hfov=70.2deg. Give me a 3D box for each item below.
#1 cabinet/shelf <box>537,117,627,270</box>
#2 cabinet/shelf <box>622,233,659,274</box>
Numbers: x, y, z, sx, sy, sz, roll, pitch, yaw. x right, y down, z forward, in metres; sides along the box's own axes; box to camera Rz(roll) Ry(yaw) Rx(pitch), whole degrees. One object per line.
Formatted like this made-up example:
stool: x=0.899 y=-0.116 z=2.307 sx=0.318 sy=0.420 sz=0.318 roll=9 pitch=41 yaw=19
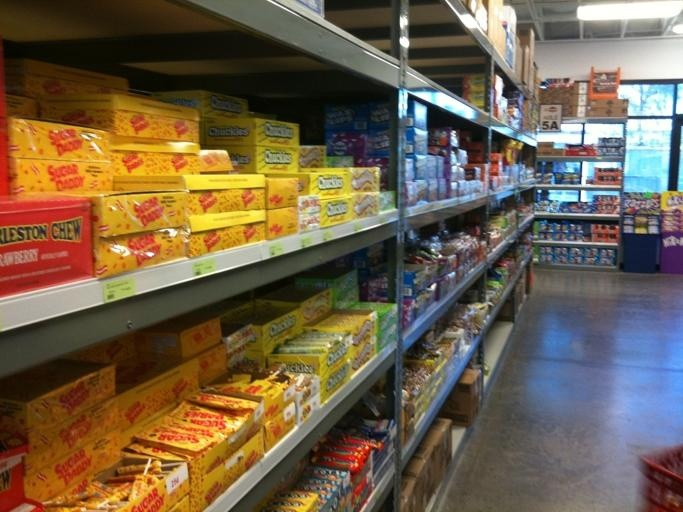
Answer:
cabinet/shelf: x=4.758 y=-1.268 z=9.814 sx=1.588 sy=2.774 sz=1.834 roll=3 pitch=12 yaw=21
cabinet/shelf: x=5.699 y=-0.121 z=9.186 sx=0.610 sy=0.817 sz=0.612 roll=8 pitch=26 yaw=42
